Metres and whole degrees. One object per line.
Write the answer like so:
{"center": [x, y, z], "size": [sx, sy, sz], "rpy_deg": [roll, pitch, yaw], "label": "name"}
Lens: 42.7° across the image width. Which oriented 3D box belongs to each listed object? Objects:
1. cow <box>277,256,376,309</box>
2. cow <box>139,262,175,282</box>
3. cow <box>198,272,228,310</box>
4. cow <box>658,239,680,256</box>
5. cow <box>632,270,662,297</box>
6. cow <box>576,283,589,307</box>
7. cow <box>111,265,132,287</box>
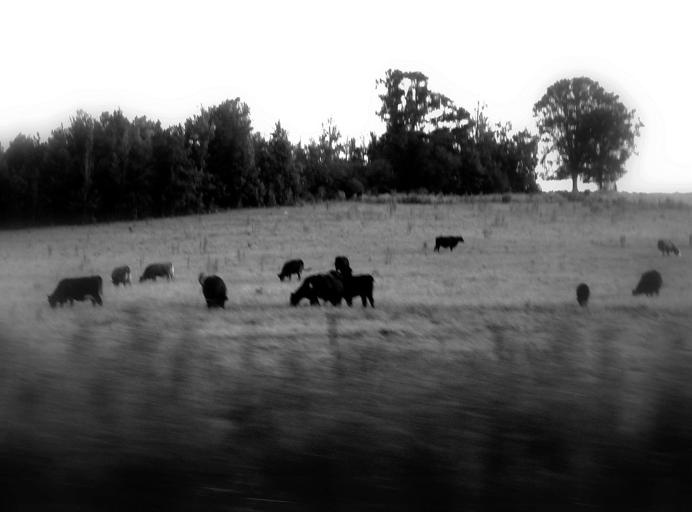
{"center": [-0.202, 0.405, 12.776], "size": [1.195, 0.711, 0.330], "rpy_deg": [0, 3, 1], "label": "cow"}
{"center": [-2.879, 0.276, 13.426], "size": [0.520, 0.293, 0.275], "rpy_deg": [-2, 4, -16], "label": "cow"}
{"center": [-1.980, 0.469, 12.727], "size": [0.492, 0.348, 0.192], "rpy_deg": [12, 2, 25], "label": "cow"}
{"center": [4.963, -0.104, 13.634], "size": [0.336, 0.240, 0.200], "rpy_deg": [1, 4, 23], "label": "cow"}
{"center": [4.400, 0.439, 12.873], "size": [0.262, 0.498, 0.122], "rpy_deg": [22, 10, 7], "label": "cow"}
{"center": [3.373, 0.575, 12.684], "size": [0.161, 0.329, 0.119], "rpy_deg": [1, 3, 17], "label": "cow"}
{"center": [-3.440, 0.323, 13.485], "size": [0.287, 0.281, 0.379], "rpy_deg": [-1, 4, -17], "label": "cow"}
